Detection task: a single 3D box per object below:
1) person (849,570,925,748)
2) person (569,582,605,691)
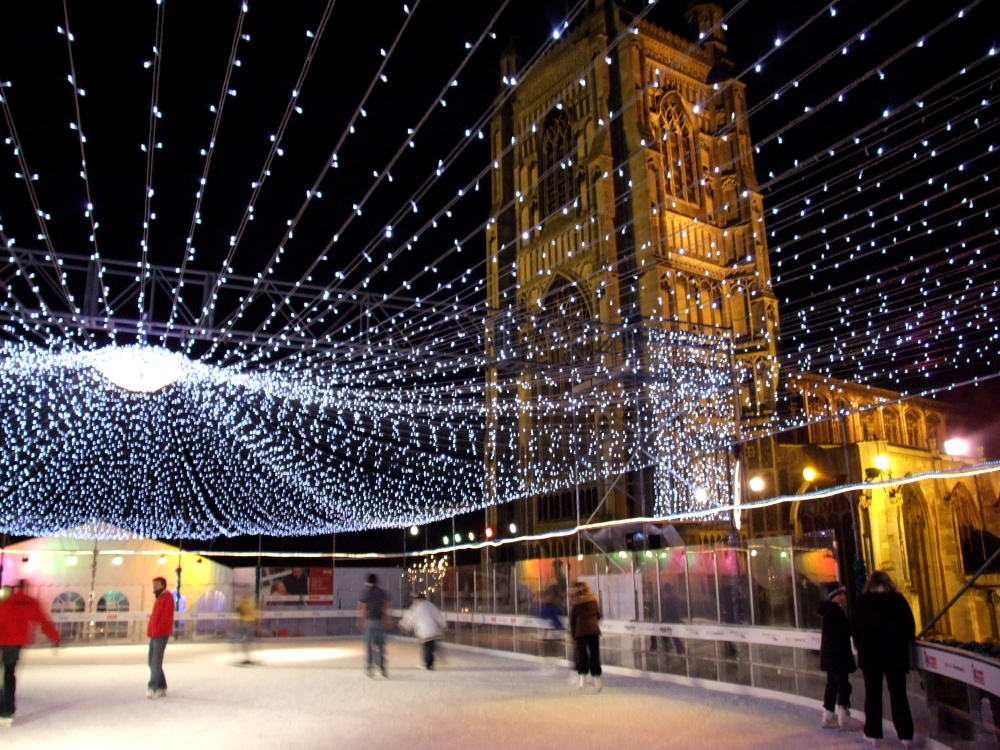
[{"bbox_3d":[4.959,3.615,9.512,0.745,2.145,0.287,-9,-15,28],"label":"person"},{"bbox_3d":[1.576,4.730,13.544,0.501,1.858,0.746,-4,-14,8],"label":"person"}]
